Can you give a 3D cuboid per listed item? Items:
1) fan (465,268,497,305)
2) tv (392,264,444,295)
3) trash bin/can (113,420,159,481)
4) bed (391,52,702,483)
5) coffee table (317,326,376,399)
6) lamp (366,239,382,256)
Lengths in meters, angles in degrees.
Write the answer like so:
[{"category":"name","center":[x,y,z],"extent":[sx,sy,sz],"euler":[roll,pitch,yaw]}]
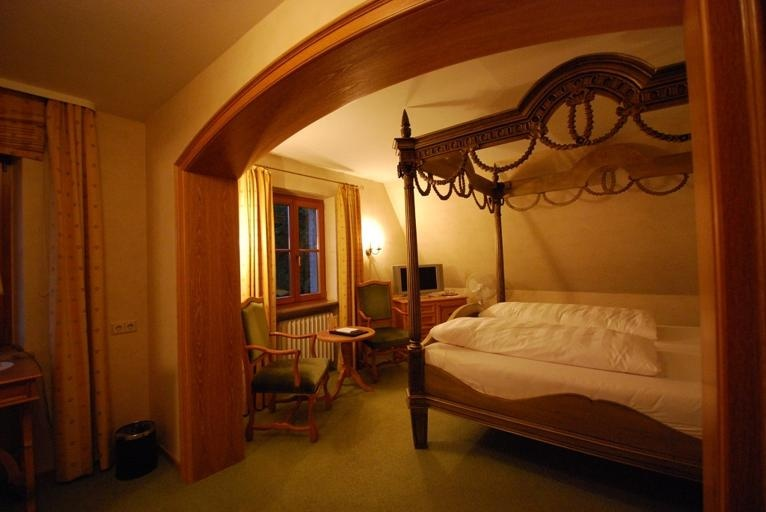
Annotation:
[{"category":"fan","center":[1.335,0.430,7.624],"extent":[0.350,0.466,0.153],"euler":[-1,1,38]},{"category":"tv","center":[0.446,0.313,7.035],"extent":[0.466,0.318,0.135],"euler":[0,0,-13]},{"category":"trash bin/can","center":[-2.206,1.668,4.906],"extent":[0.410,0.459,0.408],"euler":[-1,0,-30]},{"category":"bed","center":[1.597,0.101,5.152],"extent":[3.438,3.355,2.136],"euler":[-4,-3,38]},{"category":"coffee table","center":[-0.441,1.142,6.294],"extent":[0.710,0.763,0.711],"euler":[-1,3,-11]},{"category":"lamp","center":[-0.130,-0.082,7.643],"extent":[0.181,0.268,0.269],"euler":[-1,-2,39]}]
